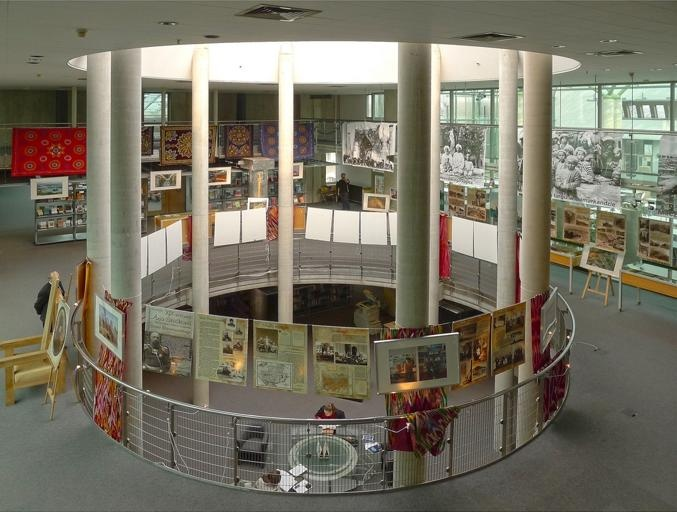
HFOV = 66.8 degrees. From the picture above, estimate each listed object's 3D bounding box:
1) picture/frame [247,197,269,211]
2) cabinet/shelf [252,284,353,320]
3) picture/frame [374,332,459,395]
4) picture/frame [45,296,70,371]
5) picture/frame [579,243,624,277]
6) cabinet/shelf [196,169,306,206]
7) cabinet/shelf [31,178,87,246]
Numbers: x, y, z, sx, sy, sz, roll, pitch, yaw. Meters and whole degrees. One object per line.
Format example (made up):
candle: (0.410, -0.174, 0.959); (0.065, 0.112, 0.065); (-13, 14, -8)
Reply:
picture/frame: (-3.633, -2.329, 23.084); (0.740, 0.830, 0.435); (2, -5, -10)
cabinet/shelf: (-1.234, 2.267, 25.941); (3.873, 1.598, 1.008); (4, 2, -37)
picture/frame: (1.353, 1.811, 8.730); (1.414, 0.982, 0.110); (-6, 13, -4)
picture/frame: (-5.934, 1.538, 10.943); (0.073, 1.273, 1.086); (5, -10, -18)
picture/frame: (10.073, 0.123, 19.603); (0.056, 0.890, 1.214); (0, 11, -26)
cabinet/shelf: (-4.388, -3.545, 27.284); (1.453, 2.105, 6.127); (6, 7, 42)
cabinet/shelf: (-13.546, -2.173, 24.965); (2.903, 2.836, 0.854); (-4, 4, -39)
